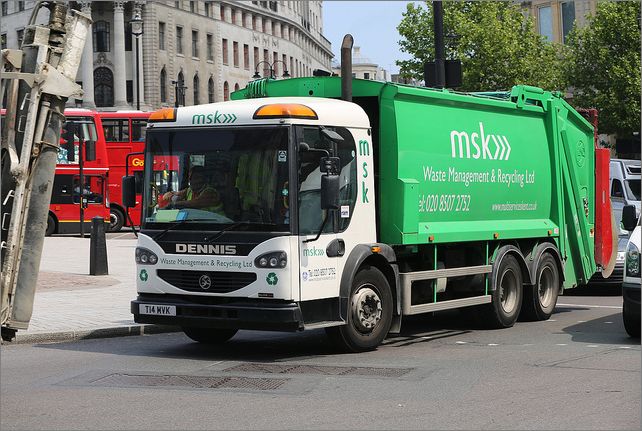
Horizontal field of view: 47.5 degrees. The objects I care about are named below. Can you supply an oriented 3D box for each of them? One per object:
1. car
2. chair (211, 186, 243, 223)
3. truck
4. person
[{"bbox_3d":[6.832,1.137,17.927,1.472,1.373,2.724,-4,-9,32],"label":"car"},{"bbox_3d":[-1.234,-0.145,10.230,0.484,0.523,0.319,0,2,7],"label":"chair"},{"bbox_3d":[1.690,-0.508,13.913,3.765,4.612,10.553,1,1,41],"label":"truck"},{"bbox_3d":[-1.771,-0.335,10.275,0.582,0.719,0.807,2,0,43],"label":"person"}]
